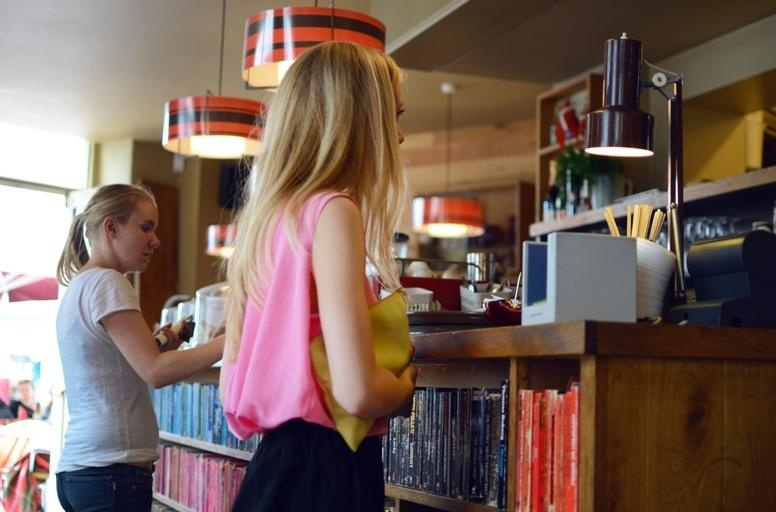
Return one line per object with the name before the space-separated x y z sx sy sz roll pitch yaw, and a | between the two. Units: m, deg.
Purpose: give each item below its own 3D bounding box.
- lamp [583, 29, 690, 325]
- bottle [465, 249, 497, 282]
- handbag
lamp | 0.909 -0.305 2.933 0.334 1.029 0.846 0 -2 20
bottle | 0.407 0.040 3.398 0.113 0.147 0.119 0 -7 0
handbag | -0.048 0.334 2.355 0.124 0.420 0.349 8 27 27
